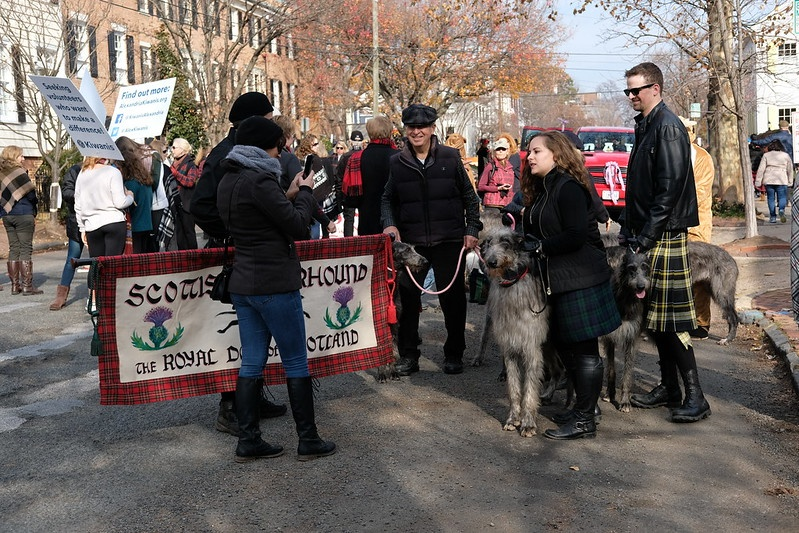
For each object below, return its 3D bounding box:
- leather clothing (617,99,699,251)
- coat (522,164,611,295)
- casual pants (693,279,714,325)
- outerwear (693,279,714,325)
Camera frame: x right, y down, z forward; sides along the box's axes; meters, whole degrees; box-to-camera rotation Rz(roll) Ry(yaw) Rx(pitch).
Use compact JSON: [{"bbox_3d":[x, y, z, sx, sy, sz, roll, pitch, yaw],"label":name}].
[{"bbox_3d":[2.481,-0.855,5.597,0.663,1.371,0.659,4,12,21],"label":"leather clothing"},{"bbox_3d":[1.631,-0.339,5.887,0.938,1.318,1.062,-4,2,-11],"label":"coat"},{"bbox_3d":[3.923,0.449,7.710,0.159,0.154,0.627,-21,-40,19],"label":"casual pants"},{"bbox_3d":[3.923,0.449,7.710,0.159,0.154,0.627,-21,-40,19],"label":"outerwear"}]
